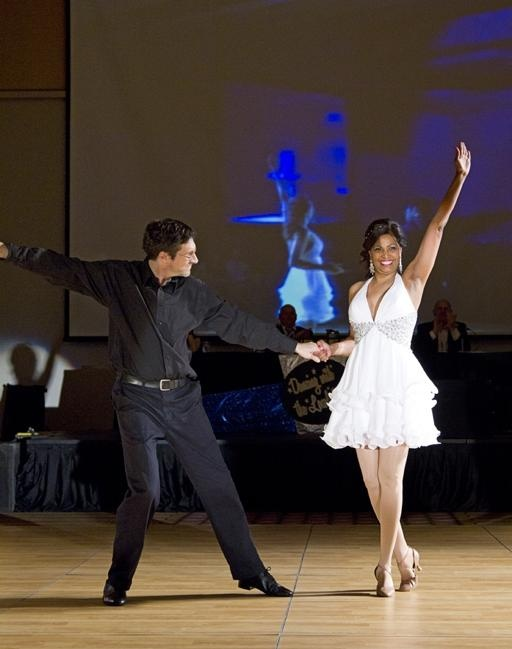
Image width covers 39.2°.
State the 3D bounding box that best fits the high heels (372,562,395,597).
[{"bbox_3d":[0.461,0.937,2.617,0.063,0.045,0.140,-1,0,1],"label":"high heels"}]

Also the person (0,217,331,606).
[{"bbox_3d":[-0.342,0.317,2.591,1.025,1.386,0.237,1,-1,-11],"label":"person"}]

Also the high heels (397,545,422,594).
[{"bbox_3d":[0.594,0.937,2.755,0.068,0.158,0.072,1,5,-22],"label":"high heels"}]

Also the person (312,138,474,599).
[{"bbox_3d":[0.500,0.165,2.758,0.334,1.671,0.497,2,-1,-42],"label":"person"}]
